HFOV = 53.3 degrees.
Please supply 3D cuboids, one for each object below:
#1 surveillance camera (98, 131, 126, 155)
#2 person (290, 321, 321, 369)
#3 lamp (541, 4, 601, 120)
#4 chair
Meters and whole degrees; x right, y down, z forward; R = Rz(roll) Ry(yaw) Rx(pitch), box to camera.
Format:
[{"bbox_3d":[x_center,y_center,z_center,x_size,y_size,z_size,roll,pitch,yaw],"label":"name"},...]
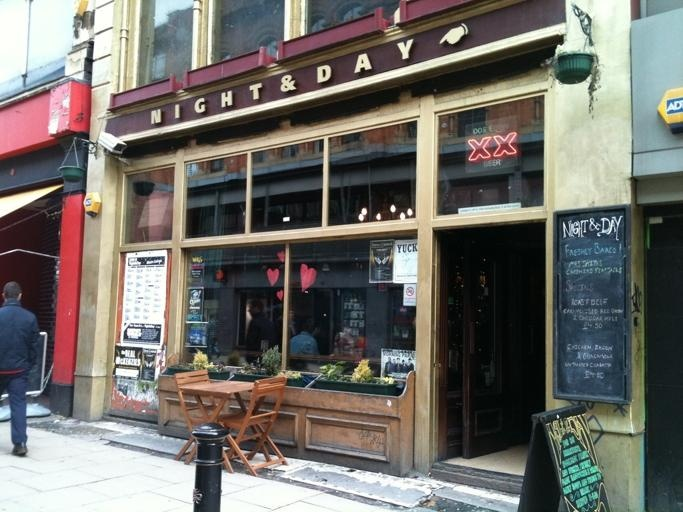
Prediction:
[{"bbox_3d":[-4.118,-2.031,12.285,0.517,0.203,0.318,28,20,34],"label":"surveillance camera"},{"bbox_3d":[-0.542,1.424,10.381,0.427,0.759,0.366,-1,-16,30],"label":"person"},{"bbox_3d":[2.757,-2.415,8.090,0.574,1.403,0.592,0,5,29],"label":"lamp"},{"bbox_3d":[-1.585,2.346,9.639,1.493,1.303,1.164,-6,-8,37],"label":"chair"}]
